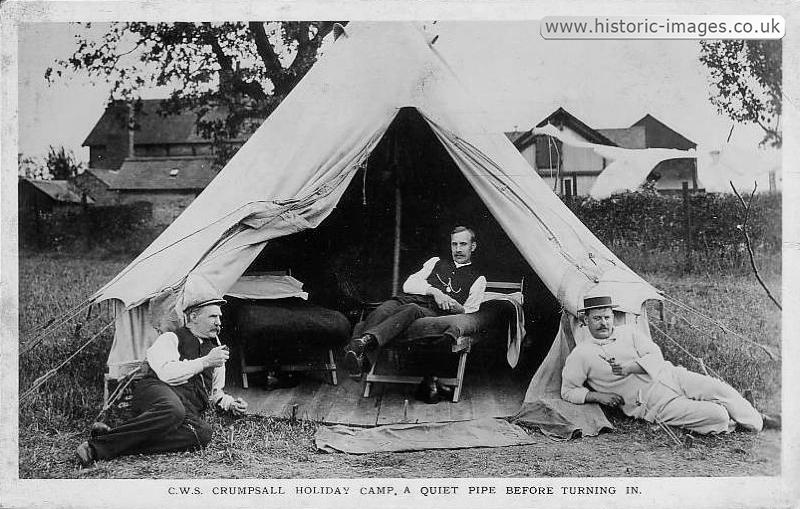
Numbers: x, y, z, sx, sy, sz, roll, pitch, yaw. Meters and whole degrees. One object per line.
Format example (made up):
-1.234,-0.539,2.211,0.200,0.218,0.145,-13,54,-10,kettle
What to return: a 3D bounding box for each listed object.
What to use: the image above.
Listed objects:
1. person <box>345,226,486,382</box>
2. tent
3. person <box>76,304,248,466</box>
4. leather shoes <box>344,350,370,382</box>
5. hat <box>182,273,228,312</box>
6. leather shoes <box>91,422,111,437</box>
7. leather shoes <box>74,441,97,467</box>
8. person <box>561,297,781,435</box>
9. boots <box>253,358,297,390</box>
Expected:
0.172,0.411,10.129,0.757,1.094,1.904,15,22,36,person
-0.099,-0.401,11.878,4.276,3.045,4.284,0,2,5,tent
-2.347,1.294,10.082,1.287,1.857,0.880,9,-17,9,person
-0.421,1.043,9.821,0.136,0.407,0.173,3,10,29,leather shoes
-1.896,0.362,9.933,0.354,0.277,0.368,1,-2,45,hat
-2.902,1.688,9.843,0.163,0.160,0.119,13,-13,-15,leather shoes
-3.033,1.923,9.847,0.187,0.252,0.135,-17,-2,-14,leather shoes
2.714,1.066,10.104,2.198,1.192,0.992,6,17,27,person
-1.257,1.232,10.447,0.327,0.132,0.328,1,6,3,boots
